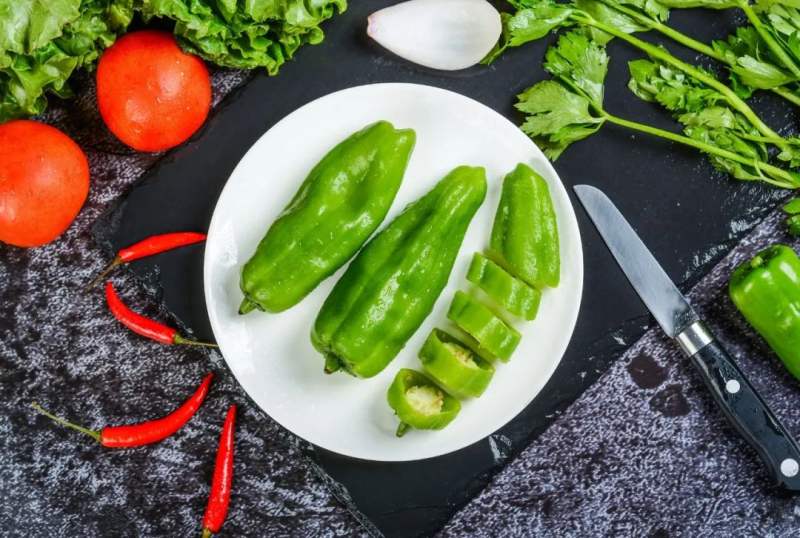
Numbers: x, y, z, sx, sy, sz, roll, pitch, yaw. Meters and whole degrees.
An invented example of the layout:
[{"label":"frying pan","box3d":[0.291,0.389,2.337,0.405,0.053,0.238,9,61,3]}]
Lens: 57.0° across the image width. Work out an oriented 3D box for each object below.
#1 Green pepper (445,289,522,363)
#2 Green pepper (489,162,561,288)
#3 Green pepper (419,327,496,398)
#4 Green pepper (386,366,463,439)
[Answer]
[{"label":"Green pepper","box3d":[0.365,0.233,2.804,0.282,0.294,0.163,42,90,23]},{"label":"Green pepper","box3d":[0.469,-0.161,2.726,0.247,0.173,0.447,-2,96,7]},{"label":"Green pepper","box3d":[0.204,0.354,2.734,0.284,0.221,0.132,40,104,-3]},{"label":"Green pepper","box3d":[0.062,0.518,2.721,0.267,0.120,0.267,32,41,25]}]
